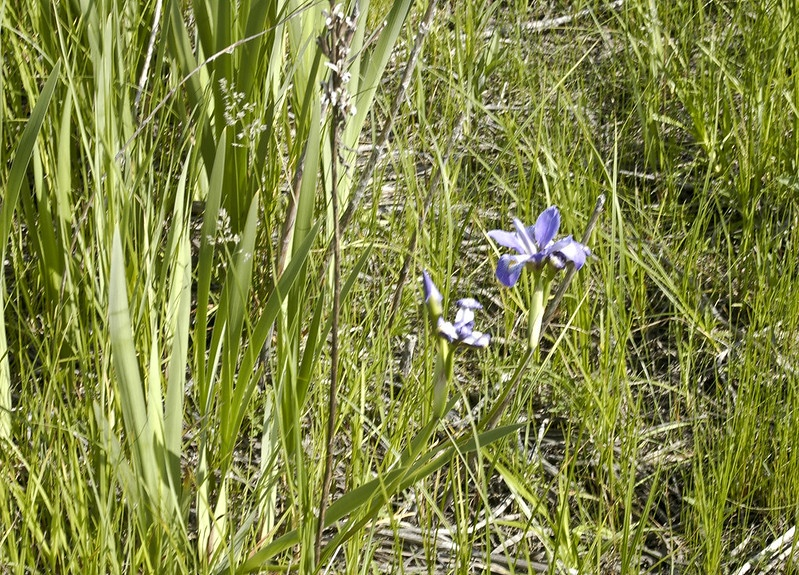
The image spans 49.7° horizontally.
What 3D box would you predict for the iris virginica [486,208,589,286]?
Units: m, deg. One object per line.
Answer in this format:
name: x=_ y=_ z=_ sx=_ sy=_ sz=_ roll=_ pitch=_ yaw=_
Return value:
iris virginica: x=0.281 y=-0.100 z=1.810 sx=0.180 sy=0.120 sz=0.183 roll=6 pitch=10 yaw=33
